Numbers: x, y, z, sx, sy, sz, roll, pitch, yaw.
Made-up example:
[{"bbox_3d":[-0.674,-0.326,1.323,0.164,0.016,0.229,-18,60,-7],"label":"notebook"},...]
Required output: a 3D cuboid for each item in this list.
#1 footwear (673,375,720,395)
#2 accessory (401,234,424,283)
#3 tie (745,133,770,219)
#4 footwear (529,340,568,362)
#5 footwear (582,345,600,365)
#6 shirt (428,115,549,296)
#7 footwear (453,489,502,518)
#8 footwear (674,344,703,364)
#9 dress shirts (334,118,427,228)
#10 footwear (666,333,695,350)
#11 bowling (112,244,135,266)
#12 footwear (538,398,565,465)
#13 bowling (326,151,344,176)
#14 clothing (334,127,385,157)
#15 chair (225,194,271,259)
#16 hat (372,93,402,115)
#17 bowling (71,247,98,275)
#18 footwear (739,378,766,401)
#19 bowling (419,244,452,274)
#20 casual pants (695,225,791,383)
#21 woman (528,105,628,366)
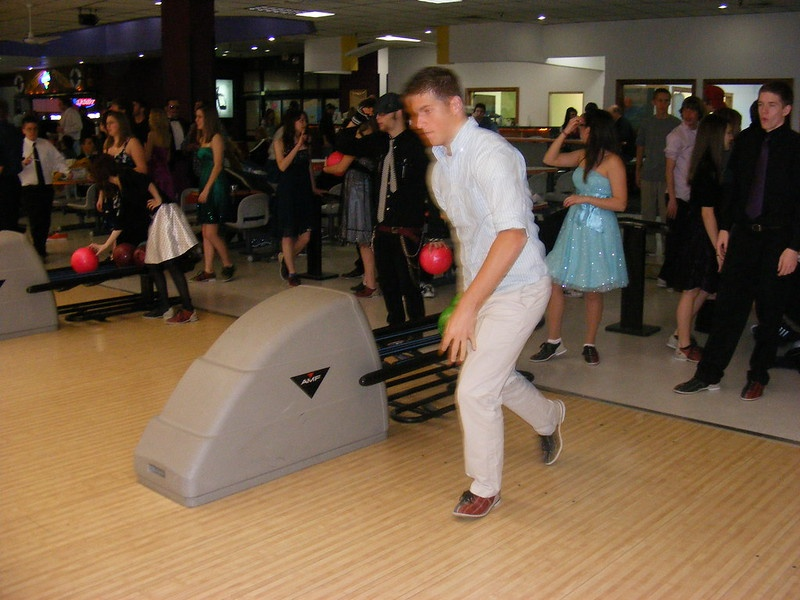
[{"bbox_3d":[1.982,0.582,3.954,0.329,0.130,0.127,-2,10,-4],"label":"footwear"},{"bbox_3d":[0.090,-0.312,4.291,0.085,0.321,0.188,-12,14,1],"label":"accessory"},{"bbox_3d":[2.240,-0.792,3.606,0.107,0.468,0.023,10,-3,29],"label":"tie"},{"bbox_3d":[1.179,0.396,4.633,0.349,0.146,0.122,-19,23,-17],"label":"footwear"},{"bbox_3d":[1.480,0.422,4.466,0.075,0.082,0.206,-6,7,13],"label":"footwear"},{"bbox_3d":[0.343,-0.378,2.437,0.494,0.745,0.370,9,17,32],"label":"shirt"},{"bbox_3d":[0.354,0.882,2.587,0.225,0.097,0.091,-8,3,-38],"label":"footwear"},{"bbox_3d":[2.239,0.420,4.505,0.181,0.079,0.114,-3,16,-5],"label":"footwear"},{"bbox_3d":[-0.036,-1.010,4.360,0.801,1.053,0.254,9,26,6],"label":"dress shirts"},{"bbox_3d":[2.317,0.348,4.813,0.225,0.090,0.106,-10,14,-33],"label":"footwear"},{"bbox_3d":[-2.581,-0.418,5.447,0.190,0.225,0.193,0,0,10],"label":"bowling"},{"bbox_3d":[0.804,0.708,3.029,0.140,0.361,0.132,0,8,-29],"label":"footwear"},{"bbox_3d":[-0.629,-1.315,5.558,0.189,0.185,0.142,-34,32,-25],"label":"bowling"},{"bbox_3d":[-0.349,-1.421,5.148,0.503,0.209,0.502,1,29,-7],"label":"clothing"},{"bbox_3d":[-2.106,-1.039,8.005,0.642,0.871,0.629,-1,12,7],"label":"chair"},{"bbox_3d":[-0.088,-1.399,4.107,0.179,0.101,0.133,11,45,16],"label":"hat"},{"bbox_3d":[-2.892,-0.357,5.343,0.180,0.181,0.211,-28,-10,-1],"label":"bowling"},{"bbox_3d":[2.313,0.583,3.809,0.085,0.095,0.258,0,9,39],"label":"footwear"},{"bbox_3d":[0.246,-0.266,3.898,0.204,0.199,0.199,-20,18,-40],"label":"bowling"},{"bbox_3d":[2.243,0.027,3.775,0.465,1.097,0.315,10,-14,28],"label":"casual pants"},{"bbox_3d":[1.425,-0.483,4.519,0.697,1.939,0.593,3,12,19],"label":"woman"}]
